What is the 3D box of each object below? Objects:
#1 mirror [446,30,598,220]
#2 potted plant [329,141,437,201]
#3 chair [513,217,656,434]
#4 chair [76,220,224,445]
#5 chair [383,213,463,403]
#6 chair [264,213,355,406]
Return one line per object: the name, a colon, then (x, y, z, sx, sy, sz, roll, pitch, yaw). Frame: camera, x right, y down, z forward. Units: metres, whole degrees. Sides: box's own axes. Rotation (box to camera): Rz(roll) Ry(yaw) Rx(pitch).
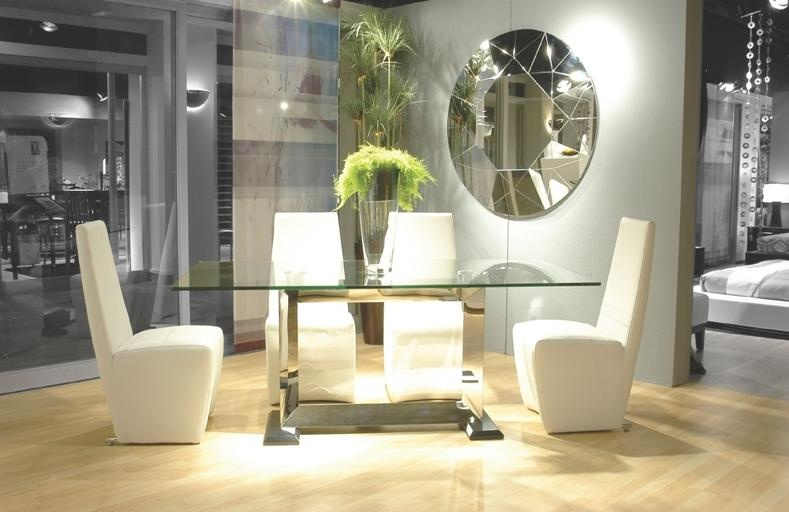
mirror: (1.329, -1.324, 5.638, 1.890, 2.137, 0.094, 6, 9, 35)
potted plant: (-0.118, -0.586, 4.409, 0.600, 0.450, 0.651, 0, -17, -38)
chair: (1.516, 0.506, 4.565, 1.019, 1.505, 0.898, -4, 3, 3)
chair: (-1.755, 0.534, 4.115, 0.870, 1.553, 0.526, 0, 14, -2)
chair: (0.232, 0.392, 4.726, 0.640, 1.569, 1.327, 0, 14, 0)
chair: (-0.719, 0.455, 4.674, 0.721, 1.454, 1.219, -3, 14, -13)
